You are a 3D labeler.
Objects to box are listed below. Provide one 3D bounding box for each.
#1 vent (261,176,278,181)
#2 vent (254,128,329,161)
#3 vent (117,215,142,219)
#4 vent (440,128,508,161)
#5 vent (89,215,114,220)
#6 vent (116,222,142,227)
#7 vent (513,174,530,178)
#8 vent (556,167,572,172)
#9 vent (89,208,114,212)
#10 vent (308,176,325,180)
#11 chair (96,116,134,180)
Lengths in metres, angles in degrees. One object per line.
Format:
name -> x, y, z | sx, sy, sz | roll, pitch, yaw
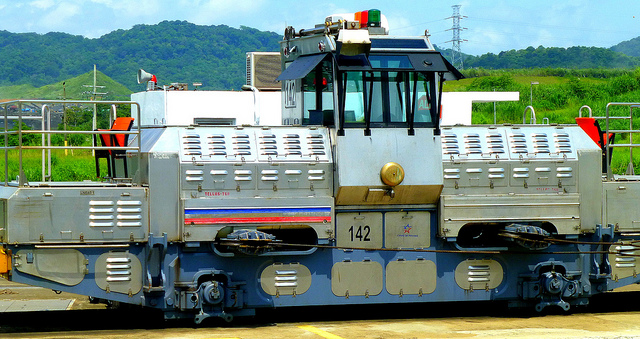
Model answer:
vent -> -1.824, 0.343, 40.980 | 0.569, 0.122, 0.085 | -2, 0, 4
vent -> -1.022, -0.892, 41.228 | 2.569, 1.224, 0.359 | -2, 0, -7
vent -> -6.919, 1.777, 40.634 | 0.854, 0.149, 0.051 | -2, 0, -3
vent -> 5.821, -0.912, 42.053 | 2.361, 1.206, 0.536 | 1, -10, -3
vent -> -7.919, 1.791, 40.528 | 0.849, 0.179, 0.240 | 0, -3, -5
vent -> -6.874, 2.026, 40.632 | 0.879, 0.131, 0.215 | 0, 3, -7
vent -> 7.544, 0.279, 41.745 | 0.582, 0.124, 0.085 | -2, 0, 6
vent -> 9.198, 0.028, 41.872 | 0.578, 0.144, 0.027 | -2, 0, -3
vent -> -7.912, 1.509, 40.538 | 0.868, 0.125, 0.070 | -2, 0, -2
vent -> -0.105, 0.361, 41.137 | 0.517, 0.098, 0.156 | 2, 7, -6
chair -> -7.449, -0.806, 42.587 | 1.438, 2.621, 1.767 | 2, 0, -16
